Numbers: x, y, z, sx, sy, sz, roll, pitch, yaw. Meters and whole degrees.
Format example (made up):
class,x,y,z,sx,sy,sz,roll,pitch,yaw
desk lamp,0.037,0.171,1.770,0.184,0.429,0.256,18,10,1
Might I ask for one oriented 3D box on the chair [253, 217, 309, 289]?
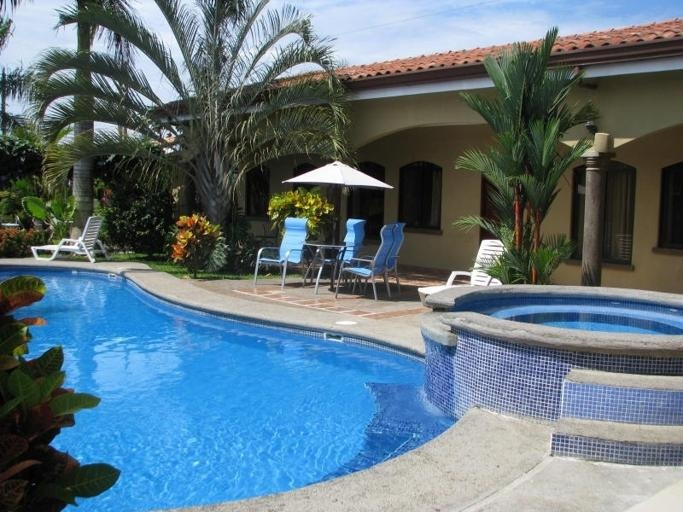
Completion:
class,x,y,z,sx,sy,sz,roll,pitch,yaw
chair,-0.981,-0.047,10.925,1.006,1.331,0.981,27,16,37

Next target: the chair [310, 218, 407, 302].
class,x,y,z,sx,sy,sz,roll,pitch,yaw
chair,0.330,-0.002,10.695,2.070,1.603,1.411,6,7,38
